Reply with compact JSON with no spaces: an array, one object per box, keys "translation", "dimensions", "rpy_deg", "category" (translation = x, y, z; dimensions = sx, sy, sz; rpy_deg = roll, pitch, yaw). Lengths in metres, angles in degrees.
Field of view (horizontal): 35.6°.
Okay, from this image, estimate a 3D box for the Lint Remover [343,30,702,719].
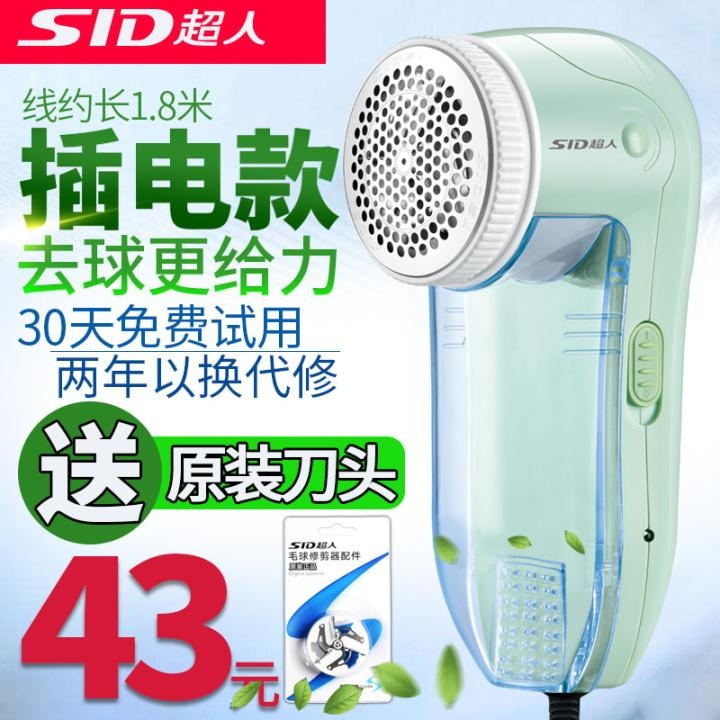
[{"translation":[0.206,-0.002,1.313],"dimensions":[0.369,0.772,0.417],"rpy_deg":[-5,-13,30],"category":"Lint Remover"}]
